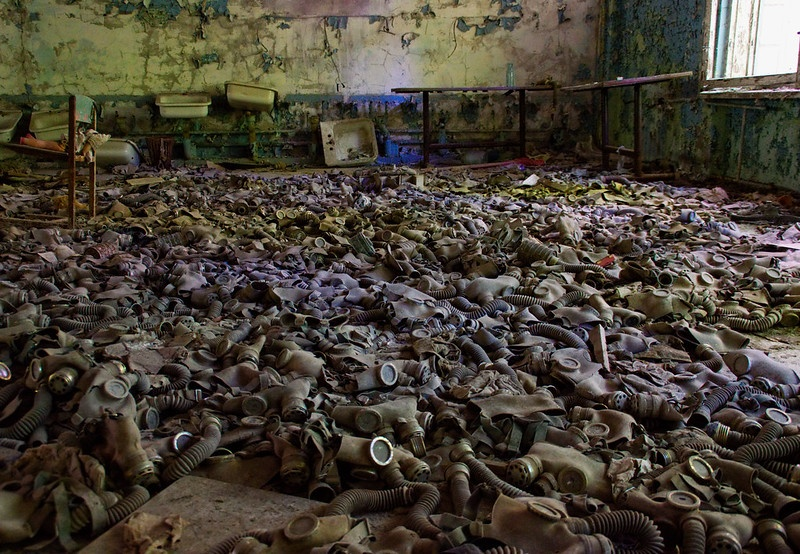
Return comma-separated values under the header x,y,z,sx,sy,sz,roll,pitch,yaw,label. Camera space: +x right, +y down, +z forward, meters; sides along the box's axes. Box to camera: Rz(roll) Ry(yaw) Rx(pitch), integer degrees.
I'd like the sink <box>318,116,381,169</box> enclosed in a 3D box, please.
x,y,z,sx,sy,sz,roll,pitch,yaw,label
-0.781,-2.053,8.161,0.832,0.715,0.605,-4,14,-9,sink
